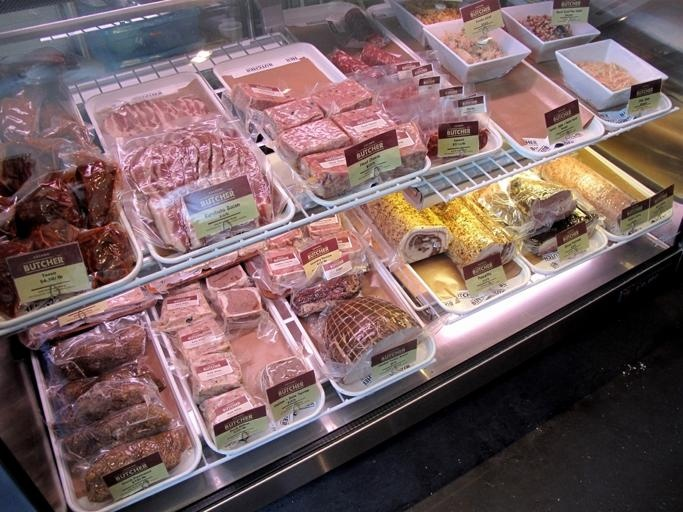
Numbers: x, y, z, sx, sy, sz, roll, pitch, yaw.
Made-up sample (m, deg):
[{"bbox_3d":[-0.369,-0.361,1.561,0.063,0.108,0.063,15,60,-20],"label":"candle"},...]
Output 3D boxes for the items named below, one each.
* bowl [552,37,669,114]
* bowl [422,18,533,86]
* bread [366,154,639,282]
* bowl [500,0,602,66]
[{"bbox_3d":[1.268,-0.889,2.331,0.394,0.150,0.391,-1,53,1],"label":"bowl"},{"bbox_3d":[0.622,-0.981,2.322,0.357,0.156,0.407,-19,52,-19],"label":"bowl"},{"bbox_3d":[0.942,-0.238,2.469,1.096,0.243,0.726,-20,52,-12],"label":"bread"},{"bbox_3d":[1.027,-1.157,2.452,0.394,0.154,0.353,-16,51,-15],"label":"bowl"}]
